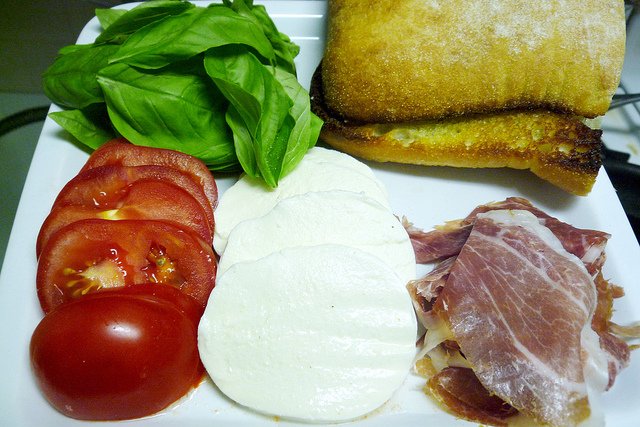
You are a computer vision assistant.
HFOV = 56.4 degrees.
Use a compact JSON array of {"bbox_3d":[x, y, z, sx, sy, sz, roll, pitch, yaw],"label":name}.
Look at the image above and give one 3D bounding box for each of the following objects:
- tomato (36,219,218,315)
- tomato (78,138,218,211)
[{"bbox_3d":[-0.583,0.125,1.594,0.397,0.122,0.297,-4,92,-5],"label":"tomato"},{"bbox_3d":[-0.492,-0.135,1.885,0.327,0.066,0.215,26,86,-7],"label":"tomato"}]
